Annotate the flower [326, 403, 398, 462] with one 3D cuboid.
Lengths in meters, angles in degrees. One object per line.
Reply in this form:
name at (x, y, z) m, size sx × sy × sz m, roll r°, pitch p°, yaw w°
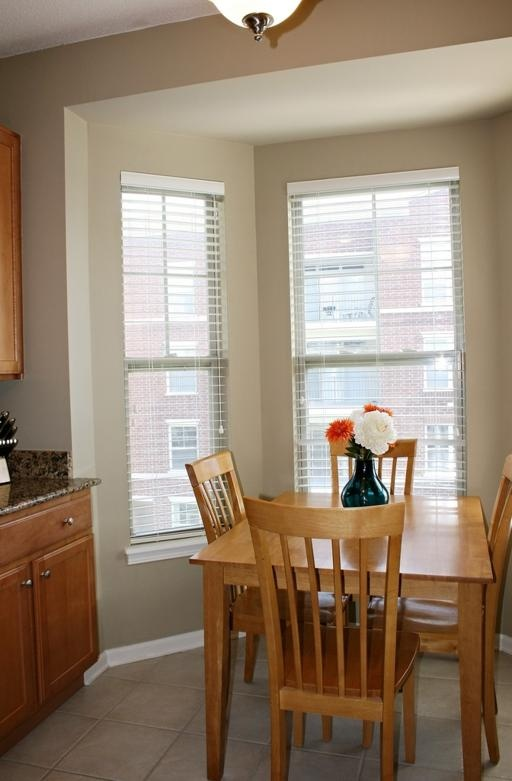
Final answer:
flower at (0.373, 0.158, 2.262) m, size 0.199 × 0.179 × 0.198 m, roll 14°, pitch -15°, yaw -35°
